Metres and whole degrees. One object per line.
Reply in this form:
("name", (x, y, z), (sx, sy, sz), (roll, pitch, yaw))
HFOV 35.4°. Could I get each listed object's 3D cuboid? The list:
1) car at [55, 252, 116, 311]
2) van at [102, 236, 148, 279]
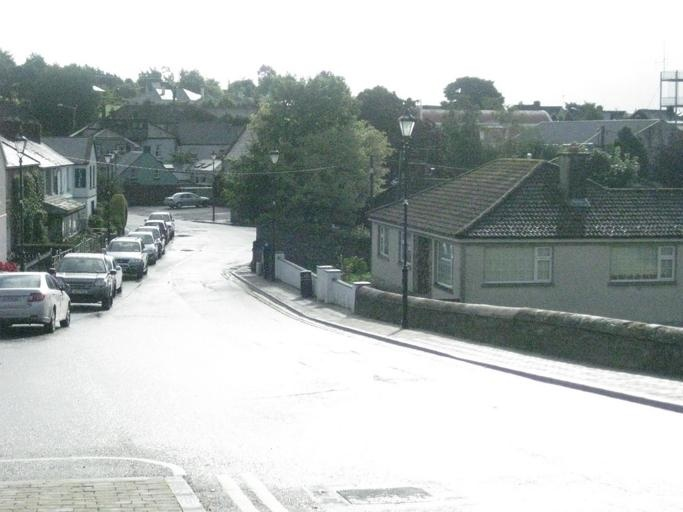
("car", (-8.653, 1.000, 36.023), (1.777, 2.031, 1.802), (1, 7, -13))
("van", (-9.498, 0.105, 47.103), (2.011, 1.750, 4.472), (0, -1, -4))
